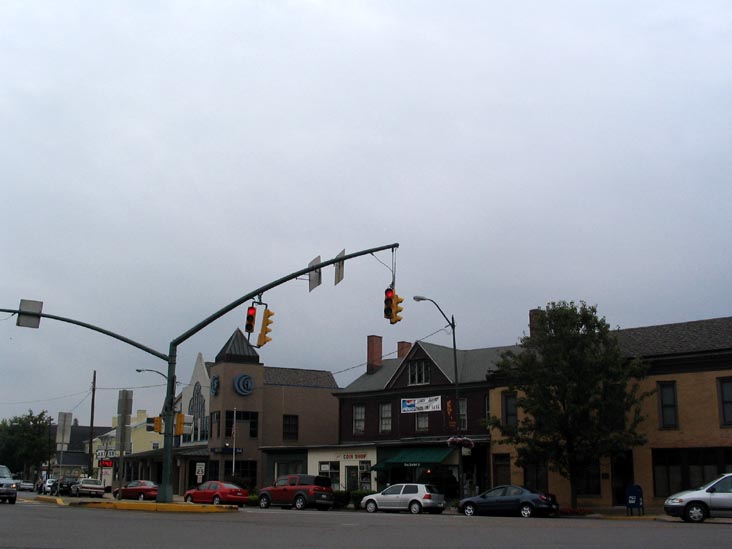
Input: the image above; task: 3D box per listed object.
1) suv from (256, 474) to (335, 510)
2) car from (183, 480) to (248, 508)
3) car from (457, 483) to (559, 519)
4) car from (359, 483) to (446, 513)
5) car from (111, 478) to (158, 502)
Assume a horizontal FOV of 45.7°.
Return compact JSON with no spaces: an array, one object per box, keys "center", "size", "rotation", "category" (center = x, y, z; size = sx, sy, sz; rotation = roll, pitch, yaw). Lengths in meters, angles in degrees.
[{"center":[-3.998,13.031,51.803],"size":[3.865,1.929,2.115],"rotation":[-1,-15,31],"category":"suv"},{"center":[-8.988,13.139,52.027],"size":[3.539,1.611,2.008],"rotation":[-16,-21,39],"category":"car"},{"center":[7.014,11.244,42.654],"size":[4.058,1.621,2.015],"rotation":[-3,-14,25],"category":"car"},{"center":[2.018,11.981,47.148],"size":[4.033,1.861,3.618],"rotation":[-18,-23,40],"category":"car"},{"center":[-16.043,15.184,61.117],"size":[1.847,1.582,4.505],"rotation":[6,-18,-26],"category":"car"}]
